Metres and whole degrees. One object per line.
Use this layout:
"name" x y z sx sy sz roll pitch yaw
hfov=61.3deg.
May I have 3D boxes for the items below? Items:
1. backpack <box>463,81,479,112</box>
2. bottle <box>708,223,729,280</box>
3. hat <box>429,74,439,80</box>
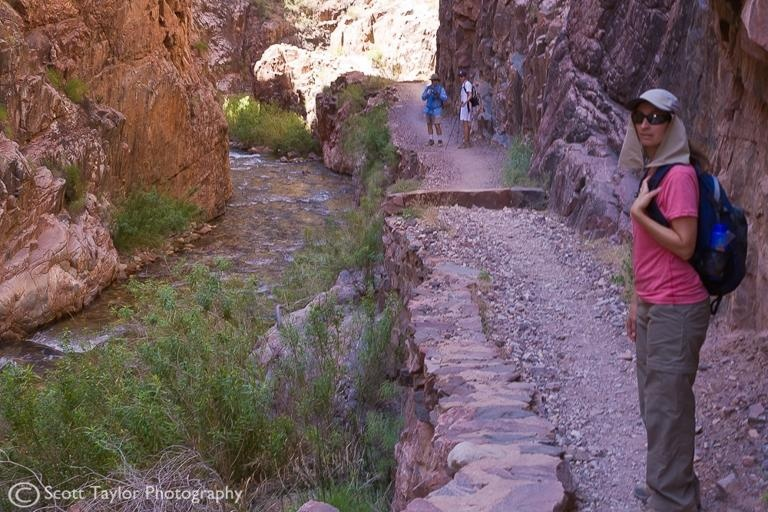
"backpack" 2.018 -3.805 15.344 0.333 0.763 0.746 -3 15 9
"bottle" 2.523 -0.047 4.864 0.148 0.393 0.075 -2 13 14
"hat" 1.159 -4.273 15.297 0.269 0.114 0.312 2 19 11
